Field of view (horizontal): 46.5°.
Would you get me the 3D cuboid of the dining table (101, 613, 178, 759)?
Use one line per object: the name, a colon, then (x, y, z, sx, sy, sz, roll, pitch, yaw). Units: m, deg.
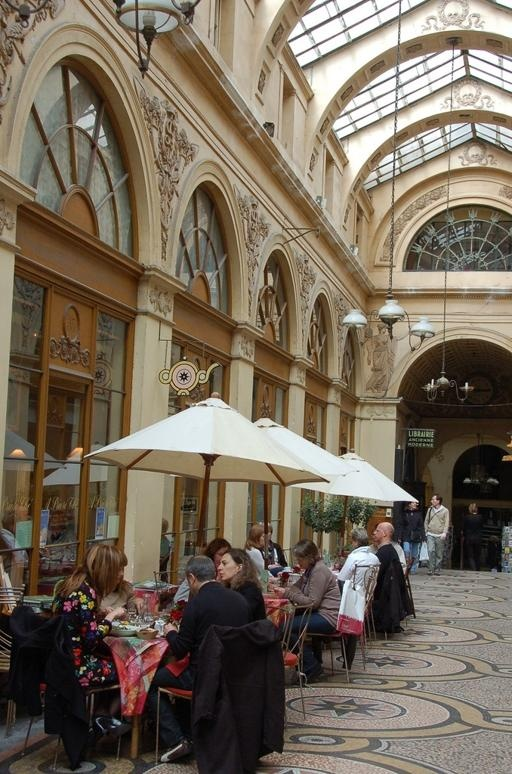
dining table: (-0.576, 1.741, 3.298, 0.525, 0.550, 0.456, 15, -40, -26)

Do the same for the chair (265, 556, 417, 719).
chair: (0.653, 2.153, 5.655, 1.048, 1.340, 1.496, 1, -12, 17)

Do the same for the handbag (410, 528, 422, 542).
handbag: (4.334, 4.020, 16.248, 0.342, 0.353, 0.190, 2, 2, 11)

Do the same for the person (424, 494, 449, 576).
person: (5.246, 4.296, 17.345, 0.583, 2.285, 0.875, -1, -11, 16)

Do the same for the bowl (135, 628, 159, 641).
bowl: (-0.632, 1.432, 3.462, 0.082, 0.033, 0.071, 1, -2, 2)

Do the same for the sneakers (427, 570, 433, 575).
sneakers: (5.080, 5.426, 17.398, 0.079, 0.165, 0.237, -4, -28, 10)

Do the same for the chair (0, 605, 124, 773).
chair: (-0.980, 1.492, 2.923, 0.505, 0.761, 0.521, 6, -12, -20)
